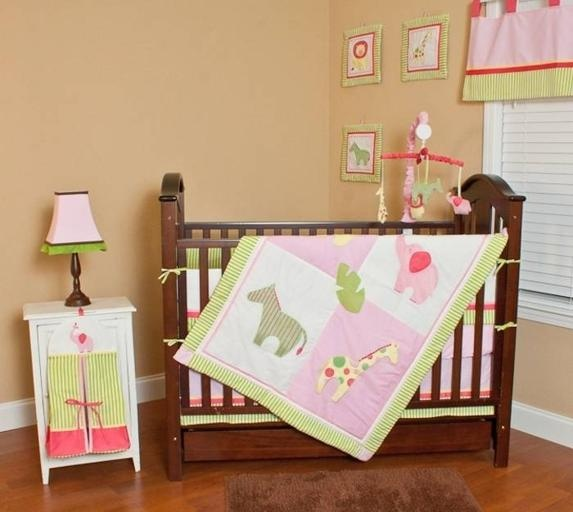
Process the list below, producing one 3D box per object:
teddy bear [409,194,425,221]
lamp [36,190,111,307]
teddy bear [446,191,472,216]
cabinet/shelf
[{"bbox_3d":[0.597,-0.218,2.696,0.055,0.107,0.041,-2,6,14],"label":"teddy bear"},{"bbox_3d":[-0.913,-0.053,2.586,0.247,0.458,0.427,-4,11,-20],"label":"lamp"},{"bbox_3d":[0.793,-0.240,2.725,0.118,0.081,0.064,35,40,25],"label":"teddy bear"},{"bbox_3d":[-0.842,0.516,2.567,0.407,0.735,0.288,-3,18,-15],"label":"cabinet/shelf"}]
